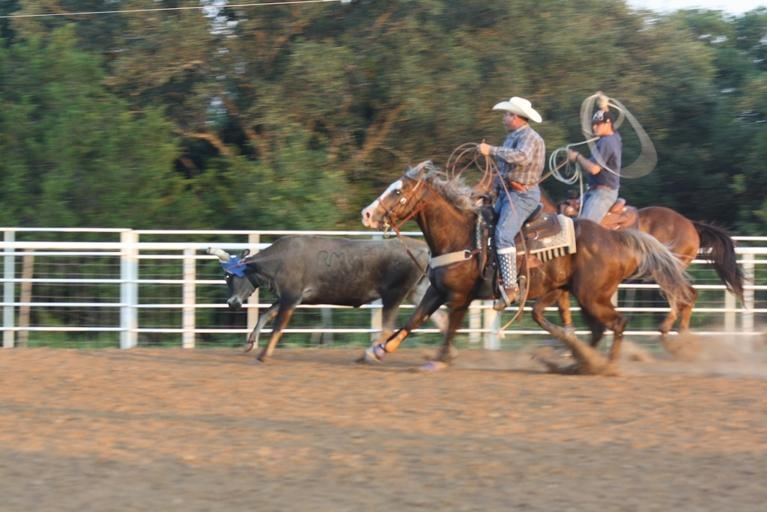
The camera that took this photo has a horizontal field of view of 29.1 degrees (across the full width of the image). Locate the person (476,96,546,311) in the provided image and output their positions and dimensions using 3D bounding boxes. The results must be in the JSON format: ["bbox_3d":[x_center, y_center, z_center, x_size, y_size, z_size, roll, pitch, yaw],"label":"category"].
[{"bbox_3d":[1.631,-0.728,19.058,0.822,2.744,0.468,2,-3,0],"label":"person"}]

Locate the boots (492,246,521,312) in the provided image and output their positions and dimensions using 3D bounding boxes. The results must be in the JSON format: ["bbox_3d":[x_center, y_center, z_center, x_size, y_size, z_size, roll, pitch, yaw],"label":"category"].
[{"bbox_3d":[1.573,0.268,18.999,0.318,0.806,0.292,1,-3,15],"label":"boots"}]

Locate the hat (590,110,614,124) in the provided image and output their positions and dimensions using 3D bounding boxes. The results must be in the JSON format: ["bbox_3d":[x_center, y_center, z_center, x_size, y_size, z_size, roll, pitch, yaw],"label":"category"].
[{"bbox_3d":[2.934,-1.913,19.989,0.286,0.192,0.218,1,-2,10],"label":"hat"}]

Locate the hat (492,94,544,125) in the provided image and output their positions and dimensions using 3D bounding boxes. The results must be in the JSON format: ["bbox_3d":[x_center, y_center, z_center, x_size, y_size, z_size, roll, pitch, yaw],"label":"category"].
[{"bbox_3d":[1.814,-2.021,19.150,0.688,0.197,0.487,16,-4,8],"label":"hat"}]

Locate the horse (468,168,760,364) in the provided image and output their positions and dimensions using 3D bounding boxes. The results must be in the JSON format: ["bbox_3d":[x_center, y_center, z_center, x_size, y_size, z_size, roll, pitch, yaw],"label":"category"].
[{"bbox_3d":[3.705,0.195,21.863,0.949,1.710,3.847,10,-13,-38],"label":"horse"}]
